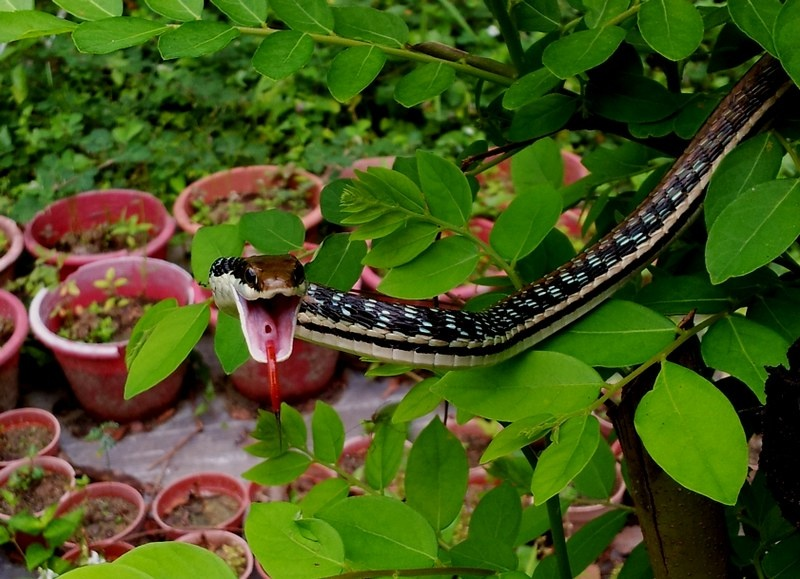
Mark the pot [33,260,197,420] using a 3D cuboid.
[{"bbox_3d":[-1.703,0.277,5.026,0.891,0.565,0.790,7,47,2],"label":"pot"}]
